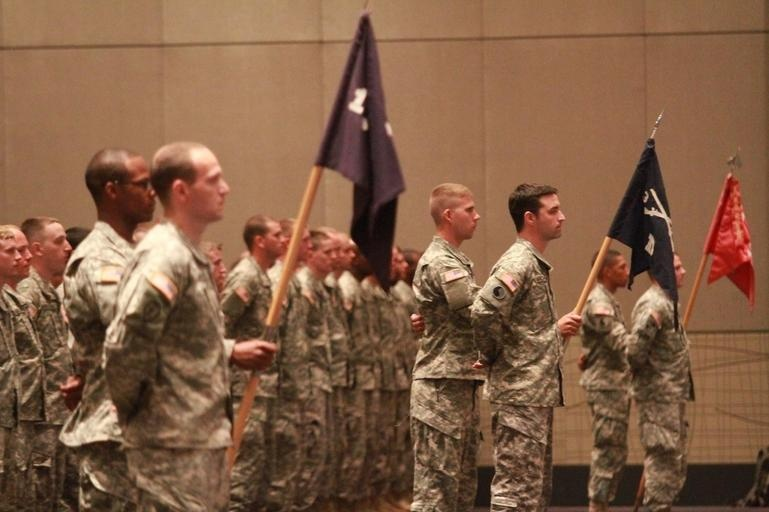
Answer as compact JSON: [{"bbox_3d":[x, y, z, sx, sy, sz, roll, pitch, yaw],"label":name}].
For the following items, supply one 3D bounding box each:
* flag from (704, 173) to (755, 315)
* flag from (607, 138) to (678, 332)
[{"bbox_3d":[3.558,-0.112,13.552,0.465,1.339,0.884,-2,-17,16],"label":"flag"},{"bbox_3d":[2.451,-0.320,12.441,0.481,1.442,0.588,-6,-19,28],"label":"flag"}]
